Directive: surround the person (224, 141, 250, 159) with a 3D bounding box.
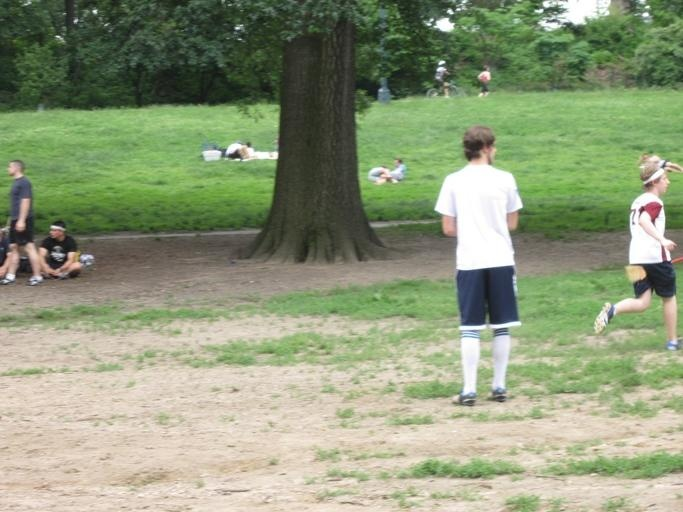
[{"bbox_3d":[-3.571,-3.728,53.116,0.987,0.550,0.444,7,15,39],"label":"person"}]

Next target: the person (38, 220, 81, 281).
[{"bbox_3d":[-6.054,-0.135,32.034,0.835,1.212,0.449,-5,13,-8],"label":"person"}]

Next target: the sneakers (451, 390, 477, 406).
[{"bbox_3d":[2.088,2.417,25.294,0.389,0.133,0.205,5,6,43],"label":"sneakers"}]

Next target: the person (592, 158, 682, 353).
[{"bbox_3d":[5.427,-0.034,26.721,1.248,3.348,0.952,-1,14,10],"label":"person"}]

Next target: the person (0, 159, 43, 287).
[{"bbox_3d":[-6.785,-0.710,31.355,0.764,2.637,0.771,-5,14,-8],"label":"person"}]
